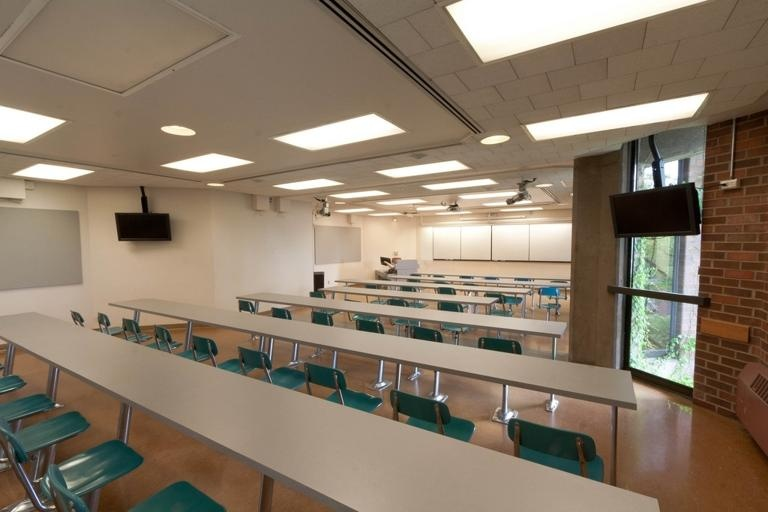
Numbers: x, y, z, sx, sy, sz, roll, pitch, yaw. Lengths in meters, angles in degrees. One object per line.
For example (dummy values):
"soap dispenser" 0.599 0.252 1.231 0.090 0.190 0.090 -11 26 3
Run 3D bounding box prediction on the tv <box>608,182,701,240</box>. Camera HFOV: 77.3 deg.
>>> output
"tv" 3.325 -0.533 6.079 1.126 0.621 0.211 -6 -8 -6

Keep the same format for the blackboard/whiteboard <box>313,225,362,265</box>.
"blackboard/whiteboard" -1.463 -0.372 15.423 0.032 1.203 2.363 1 2 34

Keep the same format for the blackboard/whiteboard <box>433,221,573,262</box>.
"blackboard/whiteboard" 3.576 -0.426 14.578 3.826 1.109 0.699 0 4 23
